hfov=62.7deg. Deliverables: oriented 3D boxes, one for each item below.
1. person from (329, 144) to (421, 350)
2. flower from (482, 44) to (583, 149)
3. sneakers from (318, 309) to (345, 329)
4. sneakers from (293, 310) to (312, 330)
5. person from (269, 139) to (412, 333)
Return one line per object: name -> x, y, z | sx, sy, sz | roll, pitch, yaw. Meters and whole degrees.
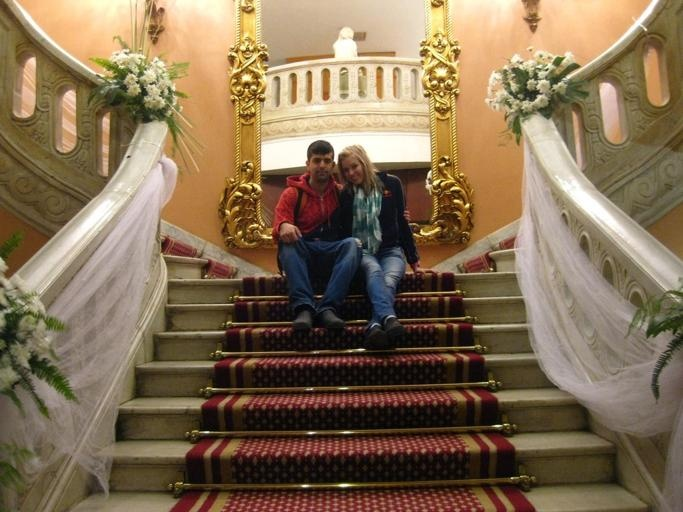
person -> 0.205, -0.077, 3.408 | 0.635, 0.917, 1.504 | -5, 21, -3
flower -> 1.097, -0.967, 3.192 | 0.572, 0.607, 0.347 | -16, -29, 23
sneakers -> -0.060, 0.364, 3.160 | 0.097, 0.095, 0.158 | -5, 17, -19
sneakers -> -0.220, 0.370, 3.179 | 0.102, 0.097, 0.143 | 0, 16, -1
person -> 0.037, -0.166, 3.625 | 0.933, 1.350, 0.995 | -5, -7, 24
